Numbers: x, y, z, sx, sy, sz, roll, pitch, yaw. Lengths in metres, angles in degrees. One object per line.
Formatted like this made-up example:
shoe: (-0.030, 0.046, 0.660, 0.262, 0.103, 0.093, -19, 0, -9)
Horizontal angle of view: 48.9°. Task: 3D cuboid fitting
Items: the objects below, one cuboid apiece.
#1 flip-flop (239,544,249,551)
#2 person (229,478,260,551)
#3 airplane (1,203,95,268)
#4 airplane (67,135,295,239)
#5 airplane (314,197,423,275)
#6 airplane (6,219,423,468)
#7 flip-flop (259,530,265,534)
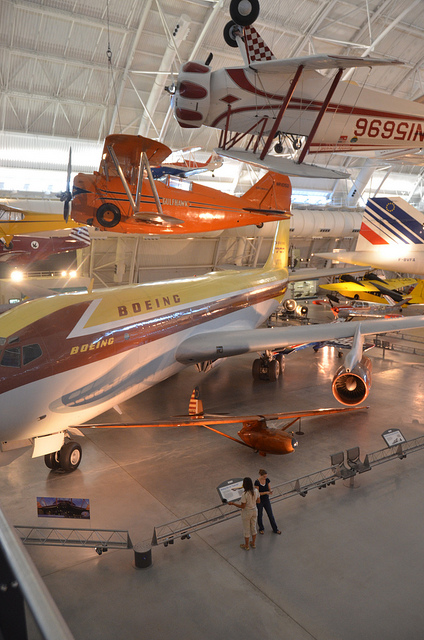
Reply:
flip-flop: (0.597, 4.195, 8.655, 0.099, 0.039, 0.227, -8, 12, -42)
person: (0.704, 3.543, 8.636, 0.296, 1.392, 0.458, 1, 9, 5)
airplane: (-8.040, -4.201, 23.089, 4.110, 1.549, 5.442, 0, 5, -28)
airplane: (-0.688, -4.081, 15.812, 6.492, 2.174, 6.897, 1, 9, -15)
airplane: (8.015, -4.093, 22.939, 4.401, 2.158, 4.269, 12, 16, 28)
airplane: (-0.820, 0.425, 13.343, 7.778, 2.942, 8.646, 0, 6, 38)
flip-flop: (0.980, 4.132, 9.120, 0.077, 0.016, 0.074, 1, 1, -12)
